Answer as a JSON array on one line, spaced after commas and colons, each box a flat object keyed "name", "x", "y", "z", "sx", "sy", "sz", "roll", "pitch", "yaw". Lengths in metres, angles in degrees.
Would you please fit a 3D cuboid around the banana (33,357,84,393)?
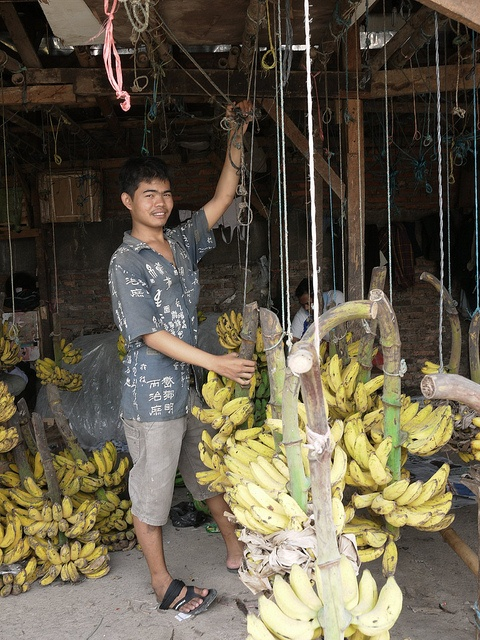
[{"name": "banana", "x": -1.334, "y": 0.409, "z": 4.029, "sx": 0.148, "sy": 0.244, "sz": 0.362, "roll": -8, "pitch": 44, "yaw": -50}]

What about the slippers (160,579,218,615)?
[{"name": "slippers", "x": -0.186, "y": 1.010, "z": 1.987, "sx": 0.180, "sy": 0.093, "sz": 0.099, "roll": -16, "pitch": 12, "yaw": 20}]

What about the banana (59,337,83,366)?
[{"name": "banana", "x": -1.378, "y": 0.247, "z": 4.408, "sx": 0.106, "sy": 0.222, "sz": 0.188, "roll": -31, "pitch": -20, "yaw": -34}]
